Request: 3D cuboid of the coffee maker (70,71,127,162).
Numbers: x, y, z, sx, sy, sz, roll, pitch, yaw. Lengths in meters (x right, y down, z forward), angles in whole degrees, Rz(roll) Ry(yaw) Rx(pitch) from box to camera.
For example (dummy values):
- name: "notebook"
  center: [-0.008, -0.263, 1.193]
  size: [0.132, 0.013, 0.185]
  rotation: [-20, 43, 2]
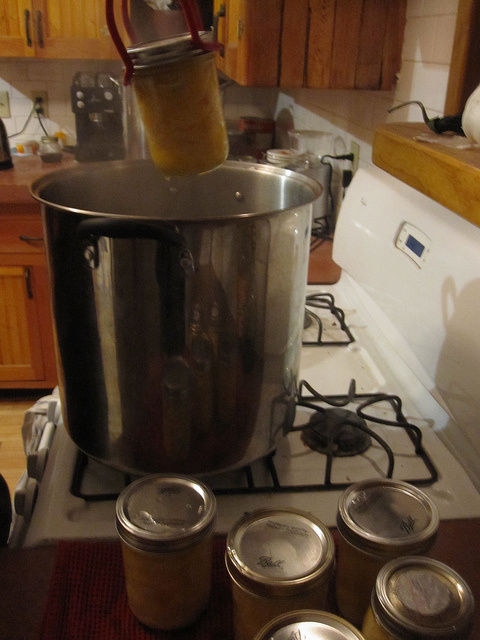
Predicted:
- name: "coffee maker"
  center: [-0.566, -0.799, 2.112]
  size: [0.213, 0.334, 0.156]
  rotation: [16, 28, 32]

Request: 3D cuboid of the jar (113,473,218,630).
- name: "jar"
  center: [-0.048, 0.168, 0.422]
  size: [0.095, 0.144, 0.093]
  rotation: [1, 30, -1]

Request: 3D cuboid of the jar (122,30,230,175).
- name: "jar"
  center: [-0.048, -0.174, 0.428]
  size: [0.098, 0.102, 0.068]
  rotation: [-12, 31, 0]

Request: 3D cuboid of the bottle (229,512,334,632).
- name: "bottle"
  center: [0.026, 0.182, 0.359]
  size: [0.066, 0.080, 0.071]
  rotation: [0, 20, -4]

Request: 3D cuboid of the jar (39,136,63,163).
- name: "jar"
  center: [-0.783, -0.704, 2.190]
  size: [0.096, 0.106, 0.093]
  rotation: [3, 31, -2]
